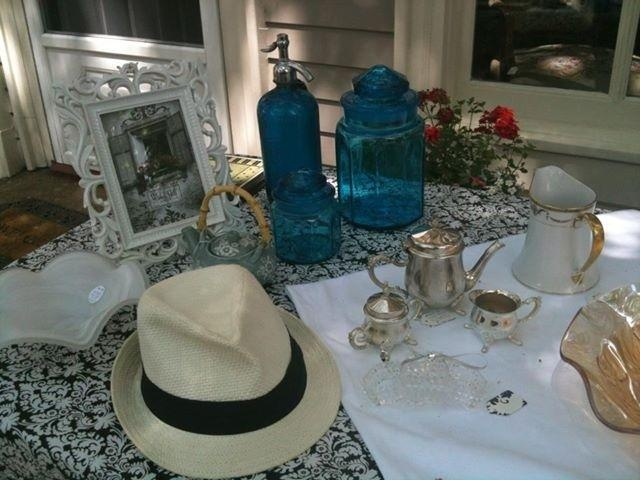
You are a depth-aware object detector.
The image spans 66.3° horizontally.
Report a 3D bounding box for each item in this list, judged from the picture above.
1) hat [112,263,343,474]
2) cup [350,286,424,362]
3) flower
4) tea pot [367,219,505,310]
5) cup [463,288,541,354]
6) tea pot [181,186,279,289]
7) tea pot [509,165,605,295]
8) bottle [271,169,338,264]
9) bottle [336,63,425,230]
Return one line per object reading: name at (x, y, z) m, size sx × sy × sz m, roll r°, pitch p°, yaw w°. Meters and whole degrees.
hat at (-0.154, 0.227, 0.771) m, size 0.288 × 0.131 × 0.340 m, roll -25°, pitch 37°, yaw -36°
cup at (0.112, 0.152, 0.915) m, size 0.138 × 0.126 × 0.087 m, roll -29°, pitch 34°, yaw -34°
flower at (0.510, -0.321, 1.706) m, size 0.284 × 0.339 × 0.250 m, roll 1°, pitch 22°, yaw 1°
tea pot at (0.228, 0.050, 0.999) m, size 0.250 × 0.199 × 0.121 m, roll -8°, pitch 30°, yaw 1°
cup at (0.357, 0.147, 0.933) m, size 0.133 × 0.090 × 0.089 m, roll -2°, pitch 24°, yaw 12°
tea pot at (-0.214, -0.004, 1.087) m, size 0.210 × 0.219 × 0.166 m, roll -2°, pitch -4°, yaw -5°
tea pot at (0.504, -0.016, 1.016) m, size 0.168 × 0.223 × 0.200 m, roll -11°, pitch 28°, yaw -7°
bottle at (-0.041, -0.067, 1.177) m, size 0.175 × 0.223 × 0.164 m, roll -2°, pitch 35°, yaw 1°
bottle at (0.155, -0.251, 1.292) m, size 0.214 × 0.387 × 0.250 m, roll -4°, pitch 29°, yaw -9°
